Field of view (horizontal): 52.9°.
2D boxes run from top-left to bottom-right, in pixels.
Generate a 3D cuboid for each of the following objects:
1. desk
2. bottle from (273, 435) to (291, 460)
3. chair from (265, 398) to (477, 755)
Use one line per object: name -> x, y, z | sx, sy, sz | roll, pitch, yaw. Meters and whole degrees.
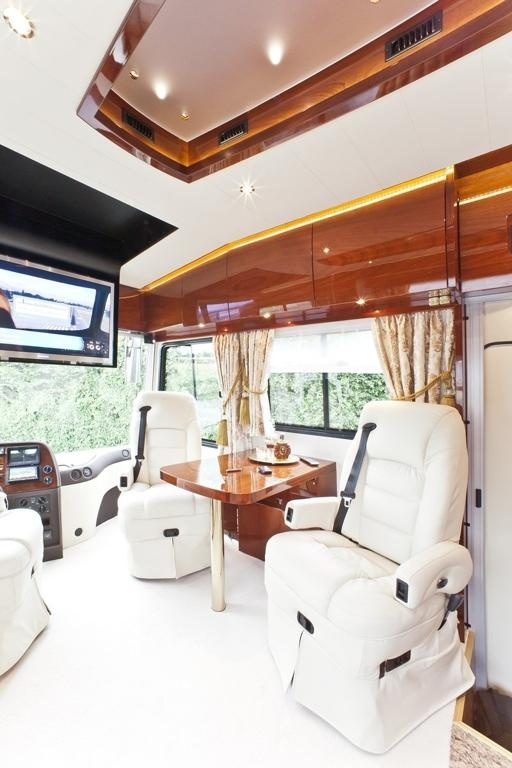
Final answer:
desk -> -0.018, 0.801, 2.921 | 0.633, 0.638, 0.973 | -1, 1, 29
bottle -> 0.168, 0.405, 3.248 | 0.124, 0.182, 0.090 | 3, 3, 30
chair -> 0.484, 0.680, 2.221 | 0.860, 1.119, 0.820 | -6, 10, -40
